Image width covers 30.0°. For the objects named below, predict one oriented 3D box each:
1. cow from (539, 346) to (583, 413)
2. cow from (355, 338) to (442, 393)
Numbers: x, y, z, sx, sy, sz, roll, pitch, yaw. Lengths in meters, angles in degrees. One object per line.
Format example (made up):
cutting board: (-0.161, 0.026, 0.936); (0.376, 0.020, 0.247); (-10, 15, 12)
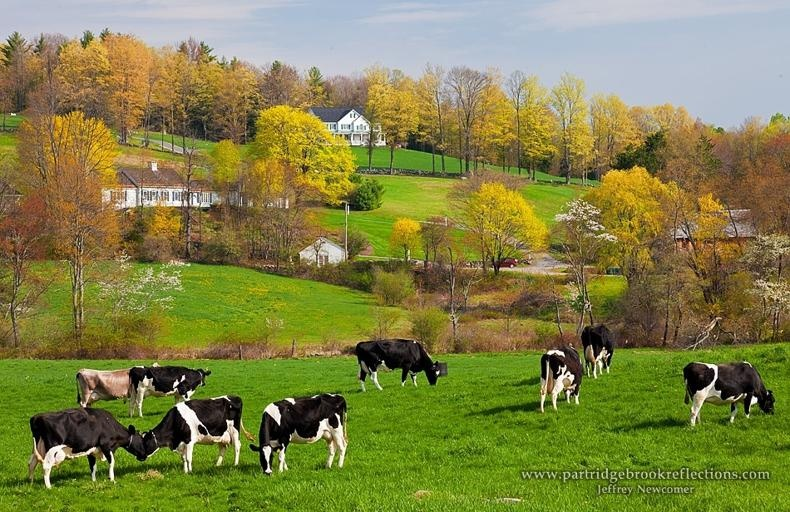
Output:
cow: (19.754, 14.142, 174.404); (4.045, 8.445, 4.669); (1, 0, 9)
cow: (0.324, 13.392, 178.112); (9.391, 6.370, 3.877); (1, 0, -21)
